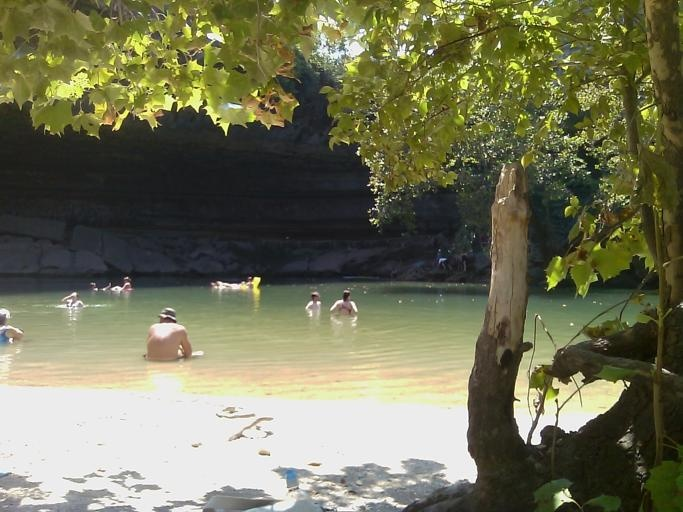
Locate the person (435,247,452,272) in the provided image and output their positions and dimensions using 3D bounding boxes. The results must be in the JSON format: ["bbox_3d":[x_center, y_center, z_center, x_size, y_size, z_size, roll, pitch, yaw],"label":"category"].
[{"bbox_3d":[4.883,0.146,39.371,0.534,0.622,1.814,20,7,8],"label":"person"}]

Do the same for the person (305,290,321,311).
[{"bbox_3d":[-0.743,1.004,21.723,0.369,0.662,0.720,-3,7,-10],"label":"person"}]

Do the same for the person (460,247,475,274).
[{"bbox_3d":[5.771,0.159,37.547,0.315,1.000,0.712,17,-26,-22],"label":"person"}]

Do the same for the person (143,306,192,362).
[{"bbox_3d":[-2.749,1.459,13.095,0.596,1.274,0.909,2,-5,-13],"label":"person"}]

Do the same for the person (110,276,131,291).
[{"bbox_3d":[-9.177,1.113,34.060,1.085,0.851,0.494,0,-2,14],"label":"person"}]
